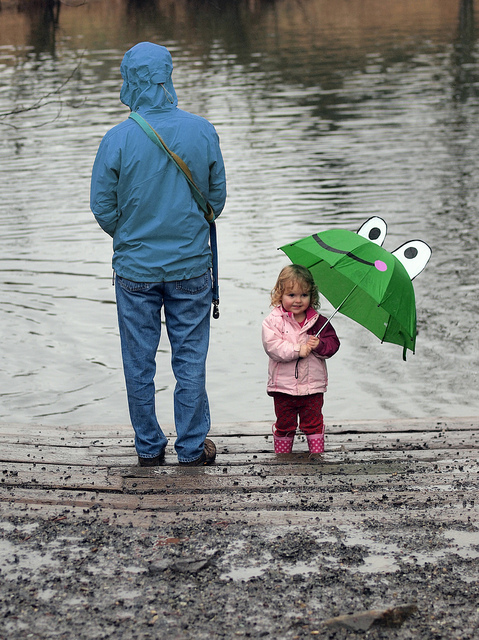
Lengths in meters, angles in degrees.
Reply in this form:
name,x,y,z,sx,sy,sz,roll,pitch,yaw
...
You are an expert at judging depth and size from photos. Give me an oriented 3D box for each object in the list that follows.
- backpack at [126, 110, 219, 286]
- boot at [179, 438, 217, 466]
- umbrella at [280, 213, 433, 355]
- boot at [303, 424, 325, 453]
name,x,y,z,sx,sy,sz,roll,pitch,yaw
backpack,-0.432,-0.746,8.587,0.162,1.171,0.159,-17,24,44
boot,-0.259,0.831,8.911,0.100,0.109,0.255,5,18,24
umbrella,0.703,-0.233,8.920,0.867,0.803,0.480,7,11,44
boot,0.470,0.757,9.104,0.113,0.137,0.186,-1,9,3
